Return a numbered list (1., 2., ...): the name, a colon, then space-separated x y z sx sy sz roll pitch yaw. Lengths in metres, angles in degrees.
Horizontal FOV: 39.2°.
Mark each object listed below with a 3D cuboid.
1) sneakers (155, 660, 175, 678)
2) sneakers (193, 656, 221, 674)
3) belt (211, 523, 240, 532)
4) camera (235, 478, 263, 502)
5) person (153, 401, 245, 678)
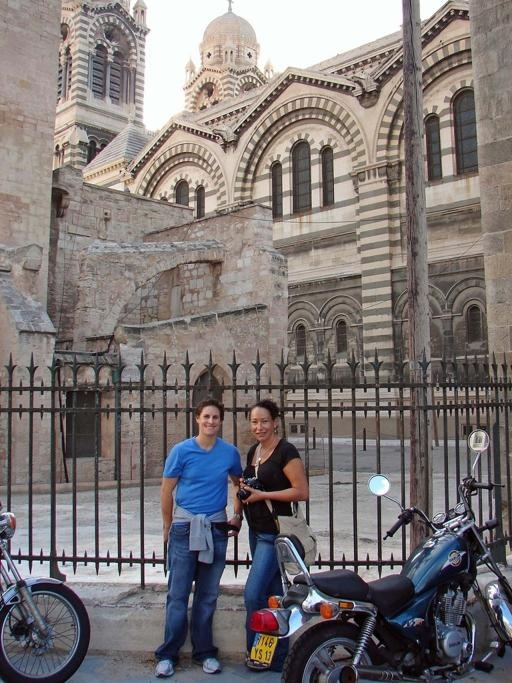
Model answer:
1. sneakers: -0.545 1.977 4.313 0.114 0.083 0.095 2 -8 -19
2. sneakers: -0.286 2.008 4.432 0.064 0.049 0.119 4 -13 -35
3. belt: -0.183 1.160 4.473 0.102 0.034 0.077 8 -6 -16
4. camera: -0.044 0.900 4.403 0.136 0.153 0.150 -5 -4 32
5. person: -0.356 1.216 4.529 0.528 1.670 0.376 0 -7 -2
